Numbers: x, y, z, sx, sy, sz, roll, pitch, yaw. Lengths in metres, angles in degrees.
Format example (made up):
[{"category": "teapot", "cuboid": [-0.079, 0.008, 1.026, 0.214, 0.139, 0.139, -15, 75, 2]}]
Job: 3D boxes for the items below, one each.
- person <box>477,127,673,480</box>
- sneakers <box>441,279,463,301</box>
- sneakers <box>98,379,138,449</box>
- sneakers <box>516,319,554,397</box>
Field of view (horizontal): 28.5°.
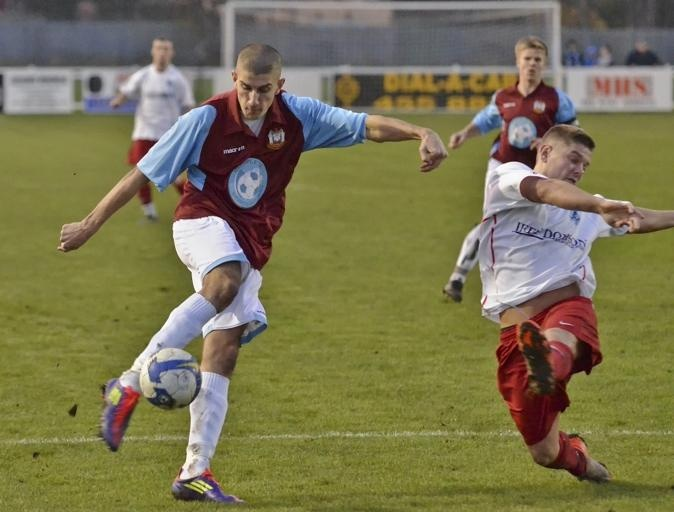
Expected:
[{"category": "person", "cuboid": [1.887, 0.415, 11.511, 1.392, 3.034, 1.044, 5, 11, 5]}, {"category": "sneakers", "cuboid": [1.206, 0.374, 13.919, 0.260, 0.229, 0.203, 9, 1, 4]}, {"category": "sneakers", "cuboid": [-1.848, 1.329, 11.367, 0.307, 0.639, 0.242, 16, 5, 36]}, {"category": "sneakers", "cuboid": [1.701, 0.869, 11.216, 0.268, 0.651, 0.296, -10, -7, 13]}]
